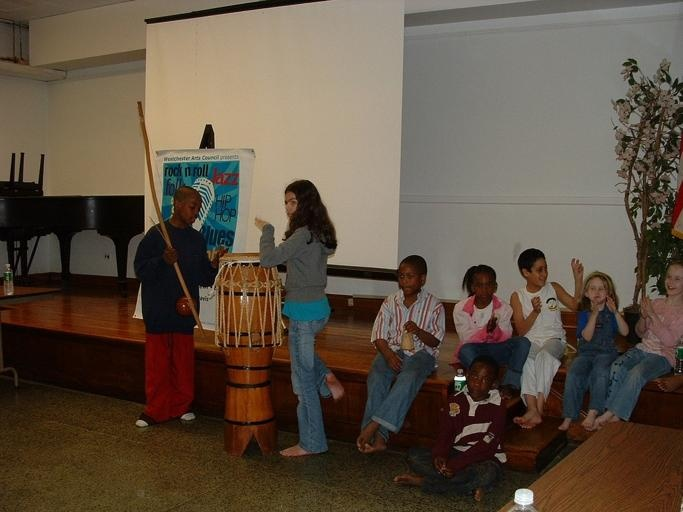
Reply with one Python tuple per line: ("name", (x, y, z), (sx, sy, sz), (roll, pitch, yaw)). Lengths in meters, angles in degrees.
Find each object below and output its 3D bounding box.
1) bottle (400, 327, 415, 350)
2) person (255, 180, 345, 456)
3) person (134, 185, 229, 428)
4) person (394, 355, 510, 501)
("bottle", (0.443, 0.549, 3.472), (0.085, 0.189, 0.163), (0, 11, 11))
("person", (-0.249, 0.420, 3.332), (0.475, 1.773, 0.238), (-2, 10, -2))
("person", (-1.232, 0.389, 3.855), (0.685, 1.769, 0.399), (-7, 11, -26))
("person", (0.688, 0.952, 2.978), (0.500, 0.777, 0.554), (2, -8, 45))
